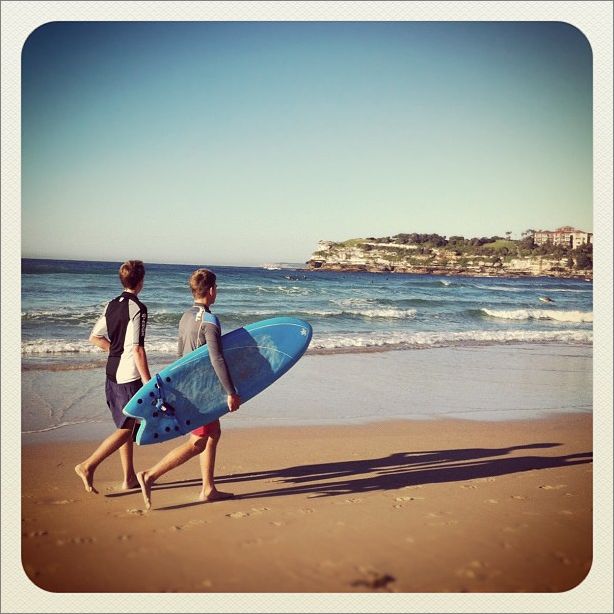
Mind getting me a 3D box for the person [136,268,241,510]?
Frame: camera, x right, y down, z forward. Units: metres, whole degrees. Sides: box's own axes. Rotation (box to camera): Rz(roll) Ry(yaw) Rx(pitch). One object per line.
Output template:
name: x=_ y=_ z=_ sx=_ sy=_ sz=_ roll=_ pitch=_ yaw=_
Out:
person: x=-0.851 y=0.548 z=4.811 sx=0.730 sy=1.653 sz=0.652 roll=0 pitch=6 yaw=-7
